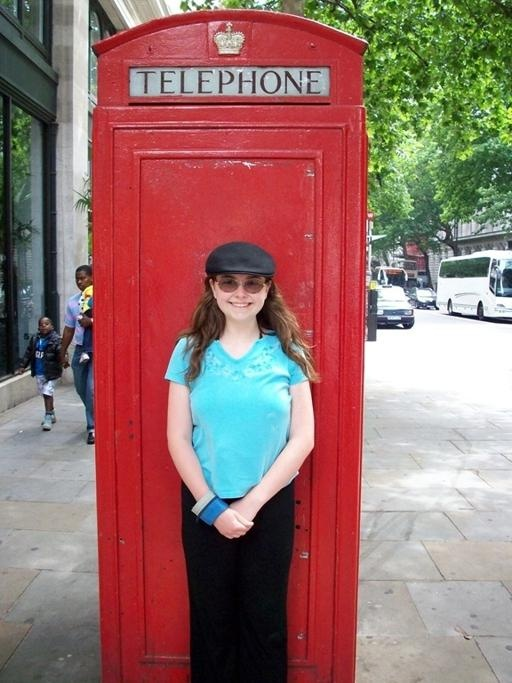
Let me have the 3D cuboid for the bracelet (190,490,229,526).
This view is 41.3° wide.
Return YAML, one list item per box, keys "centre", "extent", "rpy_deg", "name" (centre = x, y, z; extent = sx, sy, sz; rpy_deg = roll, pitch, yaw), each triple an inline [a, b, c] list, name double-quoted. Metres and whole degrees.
- centre: [-0.138, 0.508, 2.068]
  extent: [0.099, 0.099, 0.032]
  rpy_deg: [-46, -8, 5]
  name: "bracelet"

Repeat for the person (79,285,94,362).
- centre: [-1.699, -0.161, 6.802]
  extent: [0.141, 0.770, 0.377]
  rpy_deg: [-3, 5, -15]
  name: "person"

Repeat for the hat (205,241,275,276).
- centre: [-0.050, -0.256, 2.136]
  extent: [0.214, 0.114, 0.101]
  rpy_deg: [-2, 5, 0]
  name: "hat"

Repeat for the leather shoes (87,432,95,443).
- centre: [-1.670, 0.984, 6.880]
  extent: [0.058, 0.111, 0.177]
  rpy_deg: [-3, 5, -14]
  name: "leather shoes"

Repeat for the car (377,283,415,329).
- centre: [4.948, -1.302, 24.825]
  extent: [1.550, 1.281, 2.730]
  rpy_deg: [-1, -2, 2]
  name: "car"

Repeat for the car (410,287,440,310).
- centre: [10.778, -2.737, 44.139]
  extent: [0.990, 0.933, 1.999]
  rpy_deg: [-1, -4, -2]
  name: "car"

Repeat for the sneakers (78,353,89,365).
- centre: [-1.713, 0.170, 6.806]
  extent: [0.078, 0.133, 0.223]
  rpy_deg: [-4, 6, -25]
  name: "sneakers"
